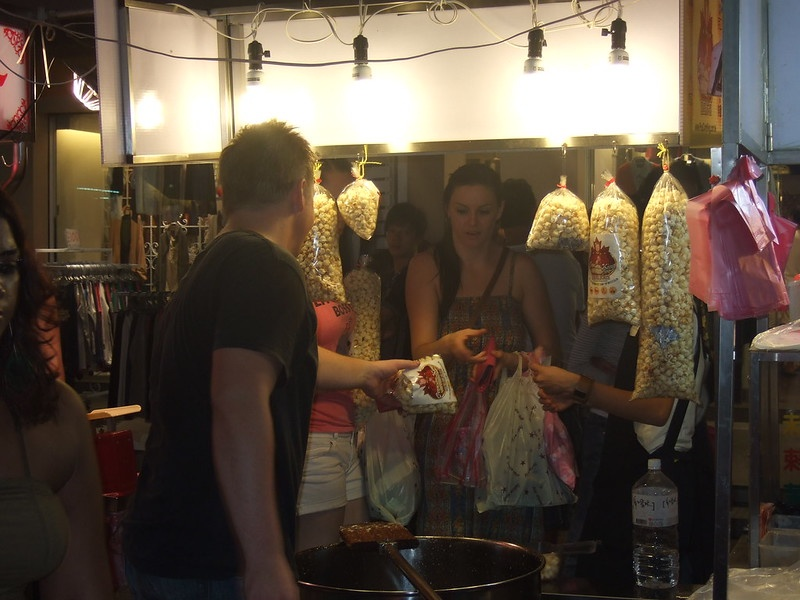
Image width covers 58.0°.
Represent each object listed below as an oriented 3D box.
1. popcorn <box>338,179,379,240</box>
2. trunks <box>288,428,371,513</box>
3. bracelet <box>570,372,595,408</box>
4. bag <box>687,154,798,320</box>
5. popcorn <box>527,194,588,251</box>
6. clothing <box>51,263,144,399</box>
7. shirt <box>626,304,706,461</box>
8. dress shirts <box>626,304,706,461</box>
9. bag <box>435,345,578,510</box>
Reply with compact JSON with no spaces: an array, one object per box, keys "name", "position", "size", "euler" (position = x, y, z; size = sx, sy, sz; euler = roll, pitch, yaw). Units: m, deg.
[{"name":"popcorn","position":[-0.153,-0.352,2.866],"size":[0.183,0.223,0.056],"euler":[-9,3,-10]},{"name":"trunks","position":[-0.254,0.649,2.879],"size":[0.223,0.411,0.402],"euler":[-12,-19,22]},{"name":"bracelet","position":[0.699,0.344,2.769],"size":[0.070,0.115,0.105],"euler":[24,-11,6]},{"name":"bag","position":[0.949,-0.171,1.986],"size":[0.289,0.438,0.148],"euler":[0,4,-2]},{"name":"popcorn","position":[0.596,-0.305,2.693],"size":[0.228,0.226,0.132],"euler":[0,4,-3]},{"name":"clothing","position":[-1.669,0.139,4.007],"size":[0.760,0.817,0.294],"euler":[0,-1,-1]},{"name":"shirt","position":[0.985,0.282,2.652],"size":[0.254,0.545,0.372],"euler":[6,21,2]},{"name":"dress shirts","position":[0.985,0.282,2.652],"size":[0.254,0.545,0.372],"euler":[6,21,2]},{"name":"bag","position":[0.433,0.501,2.800],"size":[0.492,0.552,0.293],"euler":[6,8,11]}]
